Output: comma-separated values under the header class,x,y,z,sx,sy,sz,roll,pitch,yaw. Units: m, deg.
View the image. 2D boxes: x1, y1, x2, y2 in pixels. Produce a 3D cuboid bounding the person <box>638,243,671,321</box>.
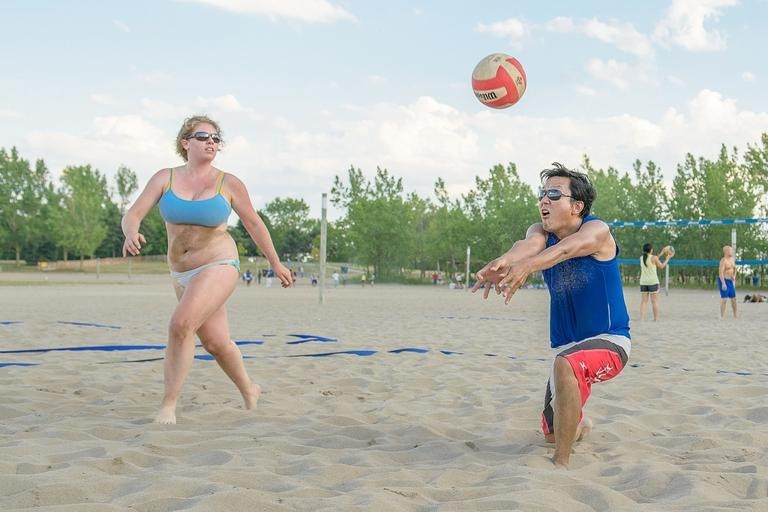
class,x,y,z,sx,sy,sz,roll,pitch,yaw
person,6.706,0.633,18.810,0.975,2.219,0.857,1,-3,8
